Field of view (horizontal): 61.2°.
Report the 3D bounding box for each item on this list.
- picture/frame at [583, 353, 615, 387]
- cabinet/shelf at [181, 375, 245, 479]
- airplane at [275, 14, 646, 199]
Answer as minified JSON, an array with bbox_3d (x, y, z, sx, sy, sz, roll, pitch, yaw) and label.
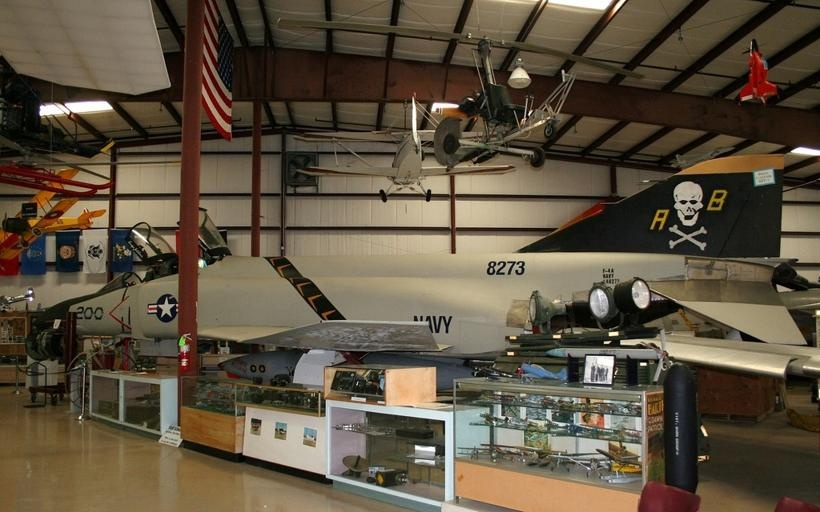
[{"bbox_3d":[2.817,1.689,10.255,0.501,0.483,0.051,0,-15,38],"label":"picture/frame"},{"bbox_3d":[-3.777,3.145,13.694,1.654,1.375,0.676,-1,-2,35],"label":"cabinet/shelf"},{"bbox_3d":[1.025,-2.959,16.420,6.566,1.988,5.293,0,4,-19],"label":"airplane"}]
